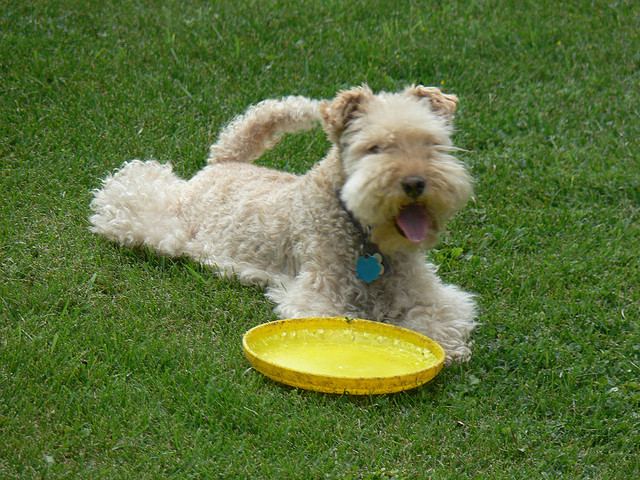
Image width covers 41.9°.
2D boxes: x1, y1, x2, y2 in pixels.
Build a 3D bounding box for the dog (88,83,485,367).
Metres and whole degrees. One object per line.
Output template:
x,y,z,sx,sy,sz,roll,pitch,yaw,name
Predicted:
-0.443,-0.294,6.434,2.950,1.881,1.419,32,120,48,dog
